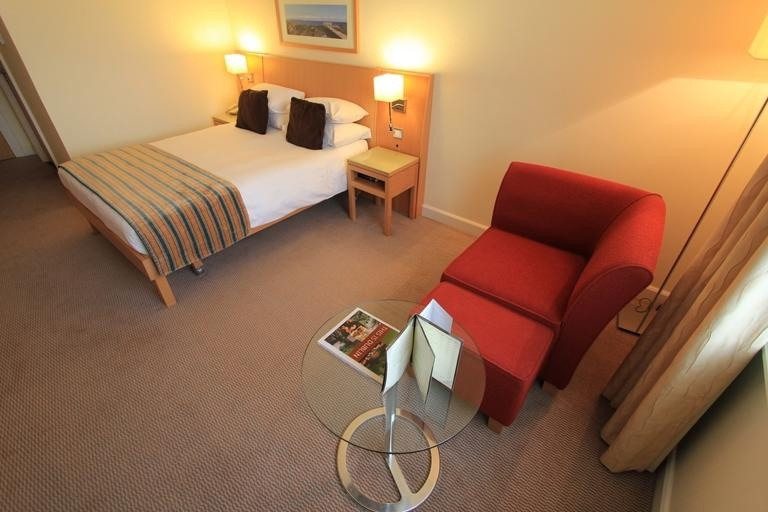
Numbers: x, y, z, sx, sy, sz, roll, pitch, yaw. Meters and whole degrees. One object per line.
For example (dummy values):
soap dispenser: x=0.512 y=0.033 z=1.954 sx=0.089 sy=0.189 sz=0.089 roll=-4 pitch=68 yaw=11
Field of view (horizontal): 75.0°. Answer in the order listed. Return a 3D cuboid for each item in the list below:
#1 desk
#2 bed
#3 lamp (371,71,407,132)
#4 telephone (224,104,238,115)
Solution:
desk: x=-0.013 y=-0.640 z=4.818 sx=0.536 sy=0.621 sz=0.459 roll=23 pitch=39 yaw=32
bed: x=-1.537 y=-0.990 z=4.702 sx=1.849 sy=1.414 sz=2.407 roll=29 pitch=43 yaw=33
lamp: x=0.047 y=-1.377 z=4.549 sx=0.247 sy=0.543 sz=0.222 roll=12 pitch=36 yaw=15
telephone: x=-1.735 y=-1.657 z=5.706 sx=0.109 sy=0.066 sz=0.180 roll=9 pitch=34 yaw=19
